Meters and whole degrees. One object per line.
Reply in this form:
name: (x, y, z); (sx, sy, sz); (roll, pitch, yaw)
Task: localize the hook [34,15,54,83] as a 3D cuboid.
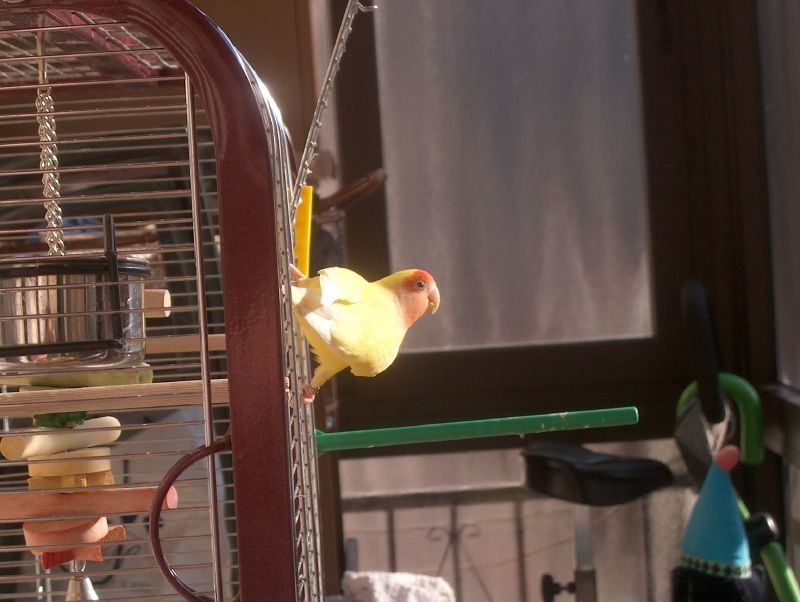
hook: (-0.517, -0.370, 1.913); (0.012, 0.025, 0.122); (-26, -20, -30)

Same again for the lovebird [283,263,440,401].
lovebird: (-0.039, 0.035, 1.987); (0.265, 0.214, 0.125); (20, -1, -39)
